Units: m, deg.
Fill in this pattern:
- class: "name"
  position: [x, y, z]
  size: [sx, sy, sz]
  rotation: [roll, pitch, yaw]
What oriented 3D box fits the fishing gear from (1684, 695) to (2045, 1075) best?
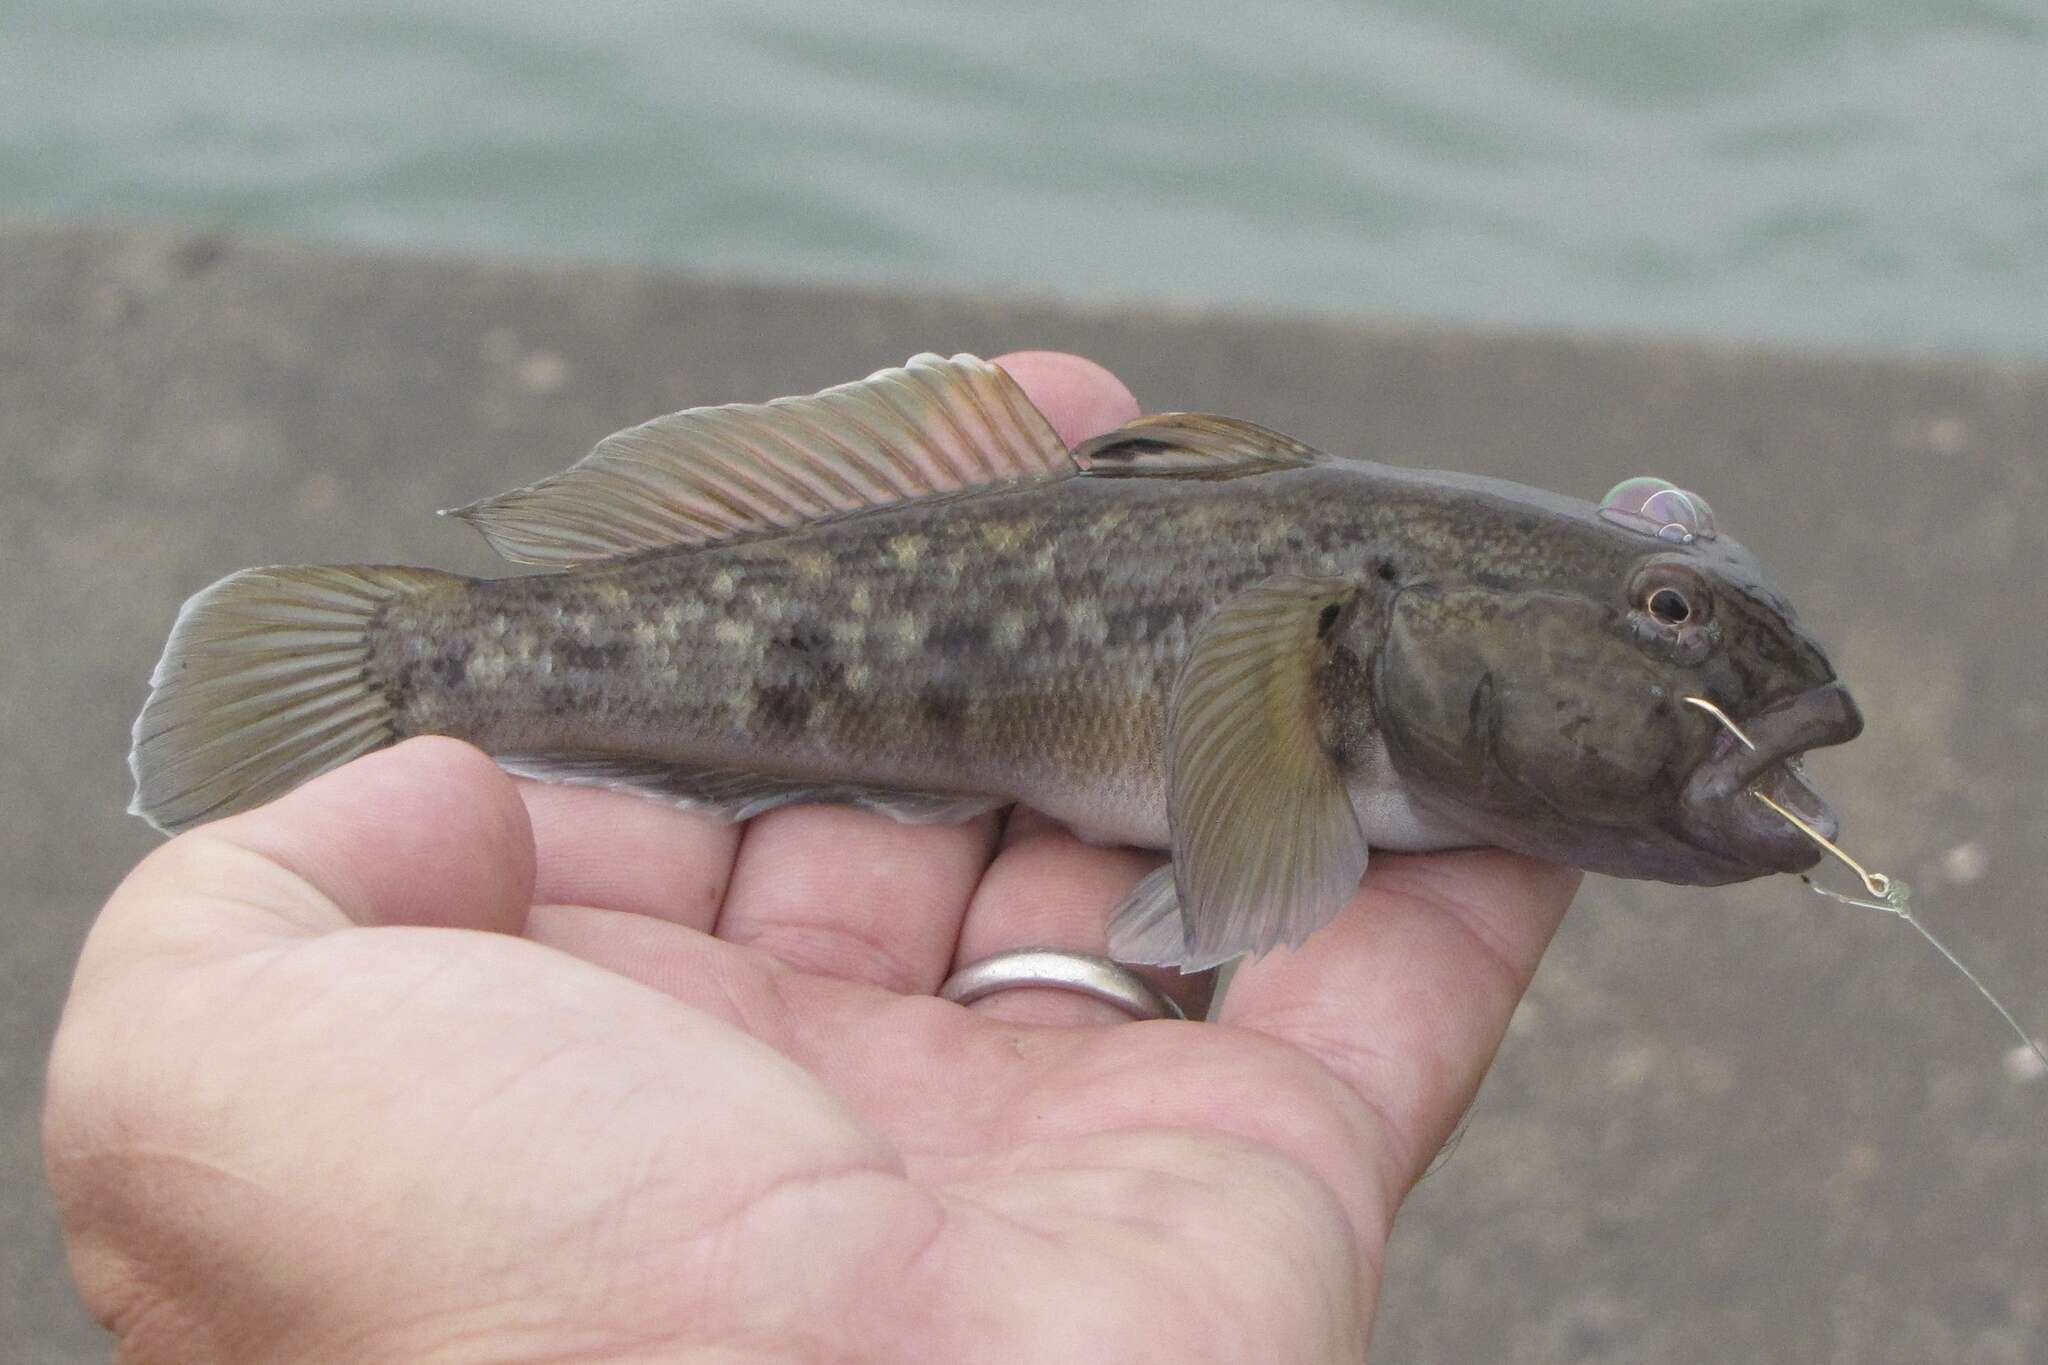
- class: "fishing gear"
  position: [1.763, 0.464, 5.116]
  size: [1.113, 0.029, 0.160]
  rotation: [45, 81, -4]
